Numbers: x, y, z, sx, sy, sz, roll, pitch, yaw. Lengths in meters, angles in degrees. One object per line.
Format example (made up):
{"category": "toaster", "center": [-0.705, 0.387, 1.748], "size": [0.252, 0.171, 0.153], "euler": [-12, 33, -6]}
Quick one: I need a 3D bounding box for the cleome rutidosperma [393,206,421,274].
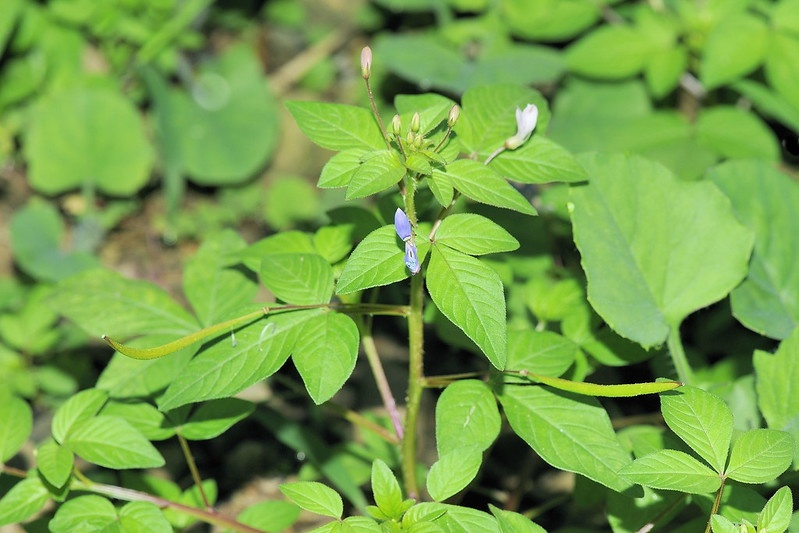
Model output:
{"category": "cleome rutidosperma", "center": [0.041, -0.113, 3.577], "size": [0.077, 0.075, 0.310], "euler": [-8, -74, 19]}
